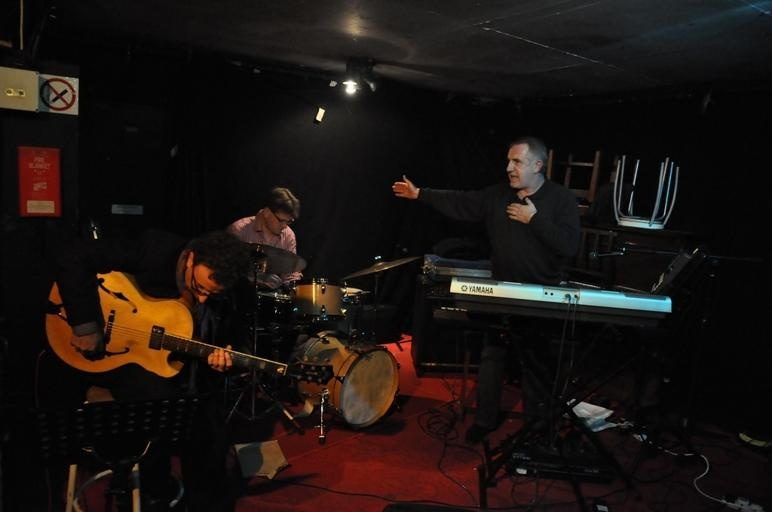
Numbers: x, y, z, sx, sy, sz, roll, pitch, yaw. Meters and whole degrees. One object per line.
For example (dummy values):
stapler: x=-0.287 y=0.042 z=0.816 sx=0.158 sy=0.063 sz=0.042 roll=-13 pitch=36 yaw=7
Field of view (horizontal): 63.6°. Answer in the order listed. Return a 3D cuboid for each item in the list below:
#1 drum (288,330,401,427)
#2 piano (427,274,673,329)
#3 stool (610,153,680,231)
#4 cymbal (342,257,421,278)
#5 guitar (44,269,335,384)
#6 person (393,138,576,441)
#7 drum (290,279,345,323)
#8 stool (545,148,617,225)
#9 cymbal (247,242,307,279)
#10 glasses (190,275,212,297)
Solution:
drum: x=-0.364 y=0.968 z=5.123 sx=0.707 sy=0.594 sz=0.783 roll=12 pitch=-1 yaw=-38
piano: x=1.113 y=0.293 z=3.988 sx=1.402 sy=0.209 sz=0.082 roll=5 pitch=11 yaw=-1
stool: x=2.162 y=-0.560 z=5.301 sx=0.689 sy=0.601 sz=0.591 roll=15 pitch=14 yaw=42
cymbal: x=-0.026 y=0.096 z=5.386 sx=0.386 sy=0.079 sz=0.369 roll=-11 pitch=5 yaw=-18
guitar: x=-1.514 y=0.601 z=4.702 sx=2.127 sy=0.761 sz=0.312 roll=14 pitch=2 yaw=-16
person: x=0.812 y=0.255 z=4.764 sx=1.187 sy=2.314 sz=0.698 roll=12 pitch=13 yaw=29
drum: x=-0.584 y=0.377 z=5.241 sx=0.504 sy=0.295 sz=0.482 roll=-1 pitch=-9 yaw=0
stool: x=1.819 y=-0.555 z=6.113 sx=0.519 sy=0.836 sz=0.489 roll=8 pitch=-11 yaw=20
cymbal: x=-0.849 y=0.033 z=4.984 sx=0.310 sy=0.081 sz=0.303 roll=-6 pitch=-39 yaw=14
glasses: x=-1.277 y=0.212 z=4.309 sx=0.123 sy=0.149 sz=0.142 roll=4 pitch=-13 yaw=-44
